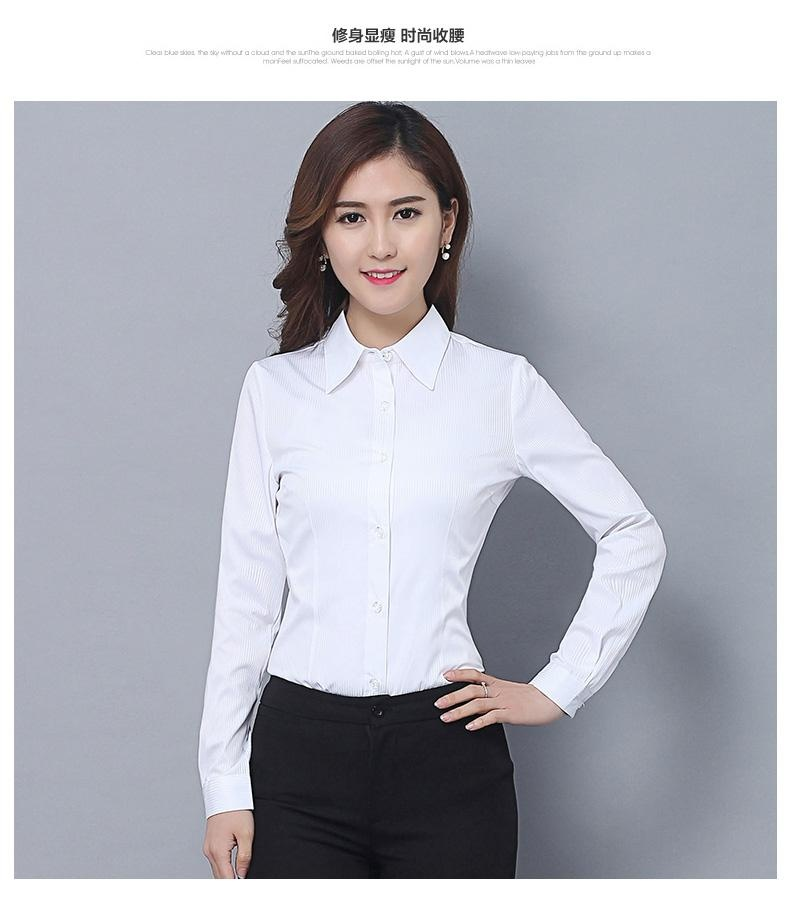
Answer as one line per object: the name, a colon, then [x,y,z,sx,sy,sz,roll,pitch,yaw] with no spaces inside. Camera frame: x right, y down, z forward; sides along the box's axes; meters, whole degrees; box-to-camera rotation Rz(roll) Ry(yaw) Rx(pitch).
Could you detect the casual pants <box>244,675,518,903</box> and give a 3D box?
casual pants: [-0.020,0.579,2.110,0.656,0.594,0.380,2,-5,0]
